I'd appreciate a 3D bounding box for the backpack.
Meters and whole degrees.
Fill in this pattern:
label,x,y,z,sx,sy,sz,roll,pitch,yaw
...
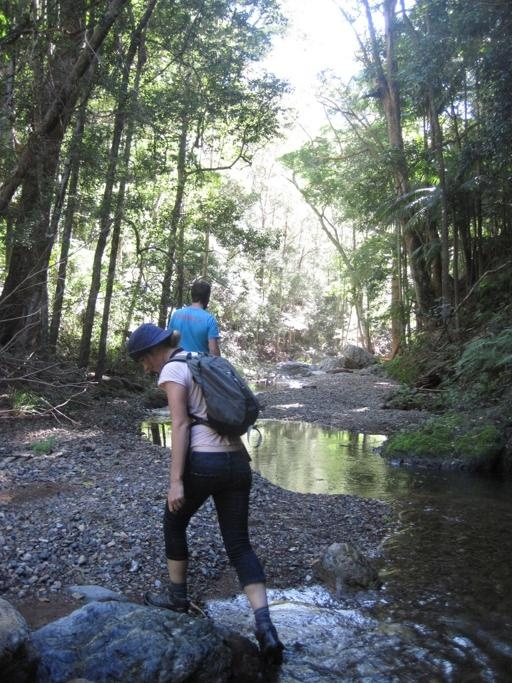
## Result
label,x,y,z,sx,sy,sz,roll,pitch,yaw
backpack,-0.259,0.312,2.989,0.458,0.470,0.496,-9,0,-33
